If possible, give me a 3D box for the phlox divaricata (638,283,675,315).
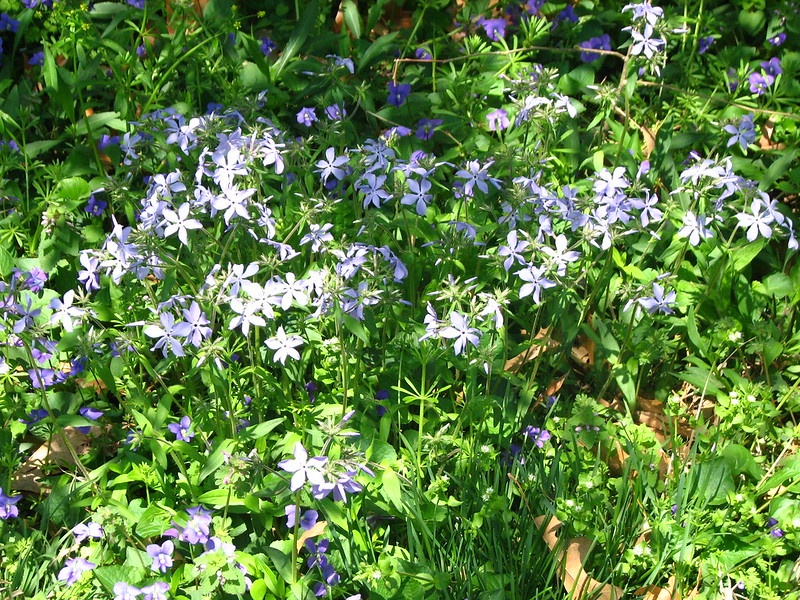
[{"bbox_3d":[1.162,-0.039,3.519,0.155,0.046,0.194,14,90,-7],"label":"phlox divaricata"}]

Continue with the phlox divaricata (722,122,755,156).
[{"bbox_3d":[1.908,-0.922,4.343,0.169,0.058,0.223,8,76,-8],"label":"phlox divaricata"}]
